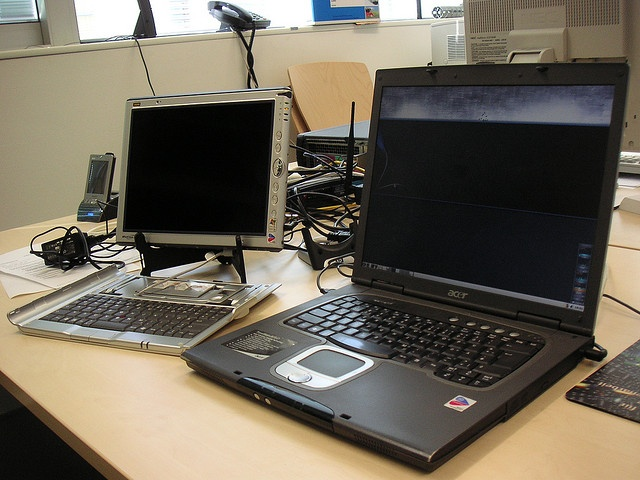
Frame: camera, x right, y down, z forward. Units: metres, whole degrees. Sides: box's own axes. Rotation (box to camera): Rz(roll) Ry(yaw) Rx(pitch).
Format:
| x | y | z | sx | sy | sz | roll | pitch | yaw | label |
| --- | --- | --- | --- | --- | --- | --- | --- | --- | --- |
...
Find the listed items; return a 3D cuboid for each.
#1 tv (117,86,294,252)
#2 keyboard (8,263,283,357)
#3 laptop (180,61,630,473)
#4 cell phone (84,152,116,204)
| x | y | z | sx | sy | sz | roll | pitch | yaw | label |
| --- | --- | --- | --- | --- | --- | --- | --- | --- | --- |
| -0.226 | -0.132 | 0.963 | 0.486 | 0.288 | 0.043 | 3 | -3 | 20 | tv |
| -0.294 | 0.070 | 0.943 | 0.516 | 0.094 | 0.362 | -7 | 14 | -1 | keyboard |
| 0.150 | -0.004 | 0.813 | 0.630 | 0.436 | 0.605 | 17 | 25 | 42 | laptop |
| -0.663 | -0.189 | 1.495 | 0.139 | 0.147 | 0.021 | 13 | 5 | 40 | cell phone |
